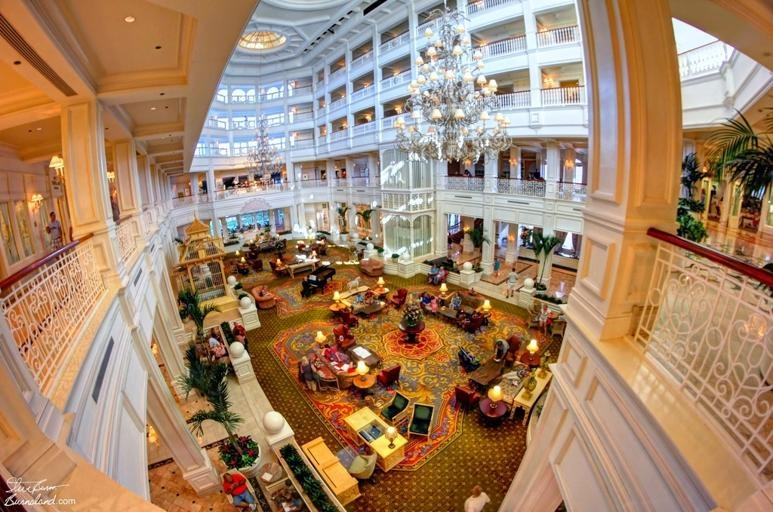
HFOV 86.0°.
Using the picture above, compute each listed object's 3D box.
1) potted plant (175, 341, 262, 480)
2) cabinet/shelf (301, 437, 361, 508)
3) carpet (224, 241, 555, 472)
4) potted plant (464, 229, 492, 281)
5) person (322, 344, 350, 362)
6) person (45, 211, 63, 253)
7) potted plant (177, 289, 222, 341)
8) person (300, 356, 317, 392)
[{"bbox_3d":[-3.329,3.300,8.563,1.462,2.699,1.298,-23,15,-31],"label":"potted plant"},{"bbox_3d":[-1.123,4.278,8.320,0.735,0.514,1.747,-16,29,-34],"label":"cabinet/shelf"},{"bbox_3d":[-0.475,2.557,13.792,8.520,2.114,11.952,-14,13,-41],"label":"carpet"},{"bbox_3d":[4.063,-0.287,18.285,1.089,1.560,1.106,1,3,-12],"label":"potted plant"},{"bbox_3d":[-1.441,2.736,11.312,0.349,0.298,0.700,-7,25,-27],"label":"person"},{"bbox_3d":[-8.799,-0.653,10.966,0.329,1.028,1.575,-14,13,-36],"label":"person"},{"bbox_3d":[-5.715,1.935,12.560,0.932,1.361,1.208,-21,3,-36],"label":"potted plant"},{"bbox_3d":[-2.046,3.132,10.845,0.334,0.718,0.550,-10,11,-21],"label":"person"}]
